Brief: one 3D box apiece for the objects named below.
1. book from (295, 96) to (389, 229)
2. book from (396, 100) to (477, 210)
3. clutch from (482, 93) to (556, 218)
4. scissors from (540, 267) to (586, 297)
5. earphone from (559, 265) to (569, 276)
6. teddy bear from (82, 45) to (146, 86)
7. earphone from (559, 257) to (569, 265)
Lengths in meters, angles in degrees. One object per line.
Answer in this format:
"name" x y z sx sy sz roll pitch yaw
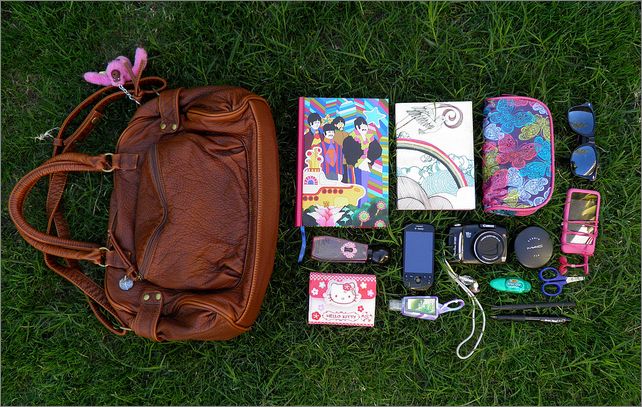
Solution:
"book" 0.167 -0.305 4.574 0.781 0.241 1.029 1 91 0
"book" 0.906 -0.382 4.690 0.642 0.195 0.846 -1 93 0
"clutch" 1.571 -0.365 4.556 0.580 0.414 0.924 1 91 9
"scissors" 1.916 0.601 4.660 0.332 0.059 0.232 -34 84 -1
"earphone" 1.953 0.535 4.626 0.057 0.027 0.069 7 83 37
"teddy bear" -1.573 -1.070 4.693 0.519 0.503 0.298 -8 121 -1
"earphone" 1.963 0.462 4.640 0.065 0.030 0.054 39 70 -3
